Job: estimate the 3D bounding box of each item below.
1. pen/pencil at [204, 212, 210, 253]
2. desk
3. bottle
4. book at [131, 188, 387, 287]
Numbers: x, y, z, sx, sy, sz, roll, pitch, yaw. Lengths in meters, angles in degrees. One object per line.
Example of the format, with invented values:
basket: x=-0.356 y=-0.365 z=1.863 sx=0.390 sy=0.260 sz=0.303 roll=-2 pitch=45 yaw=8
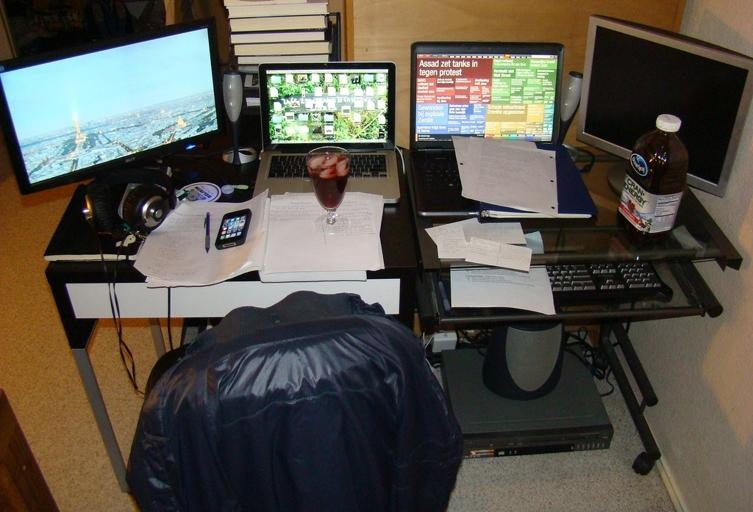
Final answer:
pen/pencil: x=-0.545 y=-0.071 z=1.889 sx=0.018 sy=0.019 sz=0.146 roll=-12 pitch=42 yaw=-8
desk: x=0.066 y=0.034 z=1.945 sx=2.014 sy=1.087 sz=0.769 roll=-5 pitch=54 yaw=1
bottle: x=0.865 y=-0.225 z=1.871 sx=0.164 sy=0.312 sz=0.183 roll=-13 pitch=35 yaw=-17
book: x=-0.365 y=-0.043 z=1.866 sx=0.565 sy=0.099 sz=0.370 roll=-3 pitch=49 yaw=4
